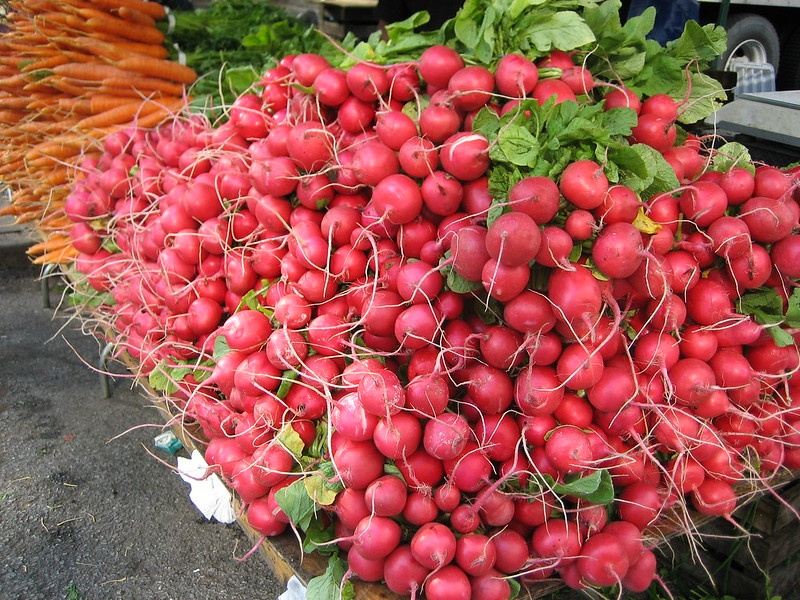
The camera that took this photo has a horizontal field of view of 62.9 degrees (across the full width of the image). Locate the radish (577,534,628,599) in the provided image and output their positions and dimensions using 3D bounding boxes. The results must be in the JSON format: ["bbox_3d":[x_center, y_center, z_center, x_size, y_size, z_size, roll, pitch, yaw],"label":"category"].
[{"bbox_3d":[0.701,0.893,2.321,0.159,0.229,0.178,25,81,9],"label":"radish"}]
